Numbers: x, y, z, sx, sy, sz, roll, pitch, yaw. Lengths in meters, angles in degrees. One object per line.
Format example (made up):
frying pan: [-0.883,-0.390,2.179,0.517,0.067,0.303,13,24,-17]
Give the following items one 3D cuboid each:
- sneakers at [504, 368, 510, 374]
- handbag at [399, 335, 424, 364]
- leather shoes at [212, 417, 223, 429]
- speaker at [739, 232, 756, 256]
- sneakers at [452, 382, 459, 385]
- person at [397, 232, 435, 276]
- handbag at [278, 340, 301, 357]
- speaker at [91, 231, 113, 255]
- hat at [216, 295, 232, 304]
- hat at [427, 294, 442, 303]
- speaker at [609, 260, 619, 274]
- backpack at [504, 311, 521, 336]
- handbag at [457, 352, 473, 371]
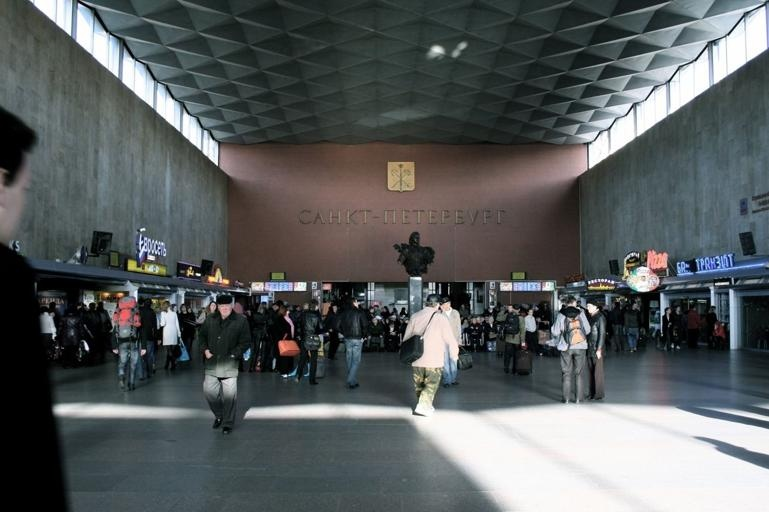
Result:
sneakers: [3.206,3.020,14.870,0.156,0.185,0.161,1,0,6]
handbag: [0.479,1.602,9.662,0.161,0.500,0.445,28,-44,-22]
leather shoes: [-2.551,2.528,8.631,0.126,0.143,0.205,1,-6,-22]
speaker: [12.605,-0.390,19.668,0.284,0.859,0.610,0,-5,-12]
sneakers: [1.625,2.909,12.928,0.126,0.056,0.044,-1,-4,-11]
person: [0.951,-0.049,17.519,1.062,1.416,2.116,-2,-5,4]
handbag: [-2.208,2.137,13.097,0.494,0.481,0.242,7,-36,-43]
speaker: [-8.977,-0.391,17.963,0.555,0.734,0.465,2,-6,-31]
hat: [-2.388,0.666,8.502,0.231,0.138,0.275,0,-6,-18]
hat: [0.869,0.770,10.058,0.168,0.114,0.173,1,-7,-1]
speaker: [11.781,0.598,29.084,0.647,0.652,0.337,1,-5,-9]
backpack: [3.392,1.954,15.444,0.468,0.618,0.585,1,-32,22]
handbag: [1.958,2.564,13.911,0.393,0.717,0.493,0,-4,3]
